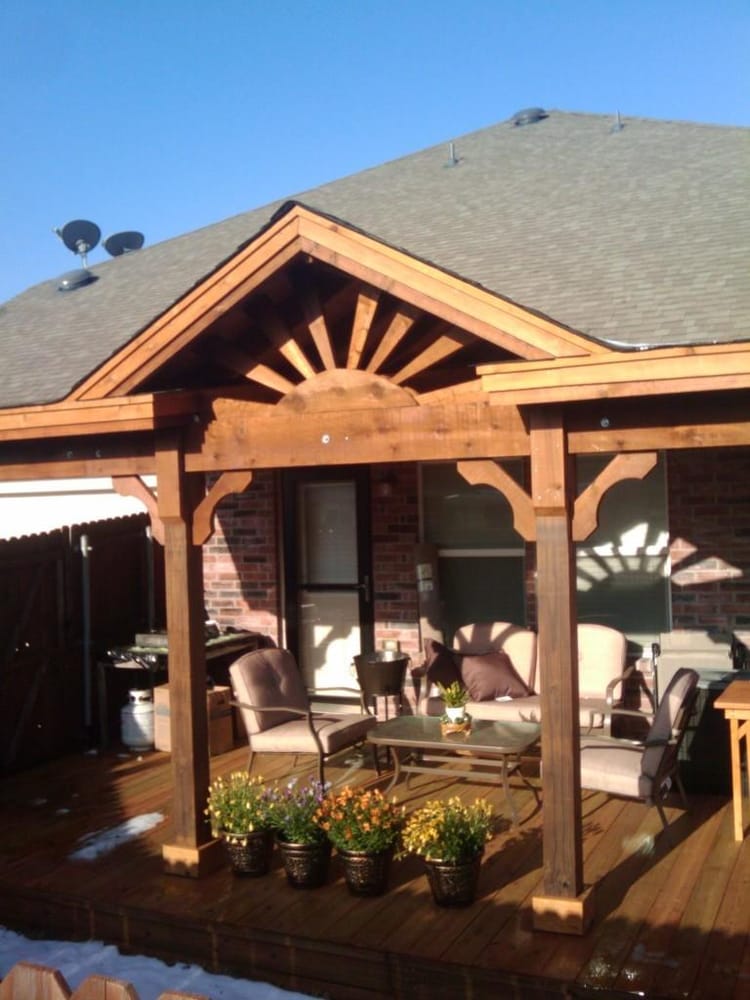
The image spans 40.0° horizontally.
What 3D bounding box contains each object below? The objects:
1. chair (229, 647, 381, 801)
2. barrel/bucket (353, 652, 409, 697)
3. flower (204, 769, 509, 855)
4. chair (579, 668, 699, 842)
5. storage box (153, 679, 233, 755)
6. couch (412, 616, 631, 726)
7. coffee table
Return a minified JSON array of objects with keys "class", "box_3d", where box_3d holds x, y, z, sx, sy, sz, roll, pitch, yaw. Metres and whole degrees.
[{"class":"chair","box_3d":[-0.520,1.543,7.409,0.934,0.985,0.916,-2,-3,25]},{"class":"barrel/bucket","box_3d":[0.054,1.402,8.395,0.414,0.230,0.354,-1,-9,1]},{"class":"flower","box_3d":[-0.083,1.766,5.835,1.628,0.523,1.023,1,0,12]},{"class":"chair","box_3d":[1.564,1.428,6.080,0.781,0.934,0.761,4,2,6]},{"class":"storage box","box_3d":[-1.487,1.787,8.438,0.682,0.568,0.627,-3,1,-11]},{"class":"couch","box_3d":[1.243,0.892,7.838,1.836,0.956,0.825,-2,-3,18]},{"class":"coffee table","box_3d":[0.642,1.675,7.106,1.642,0.659,1.021,-2,-3,21]}]
